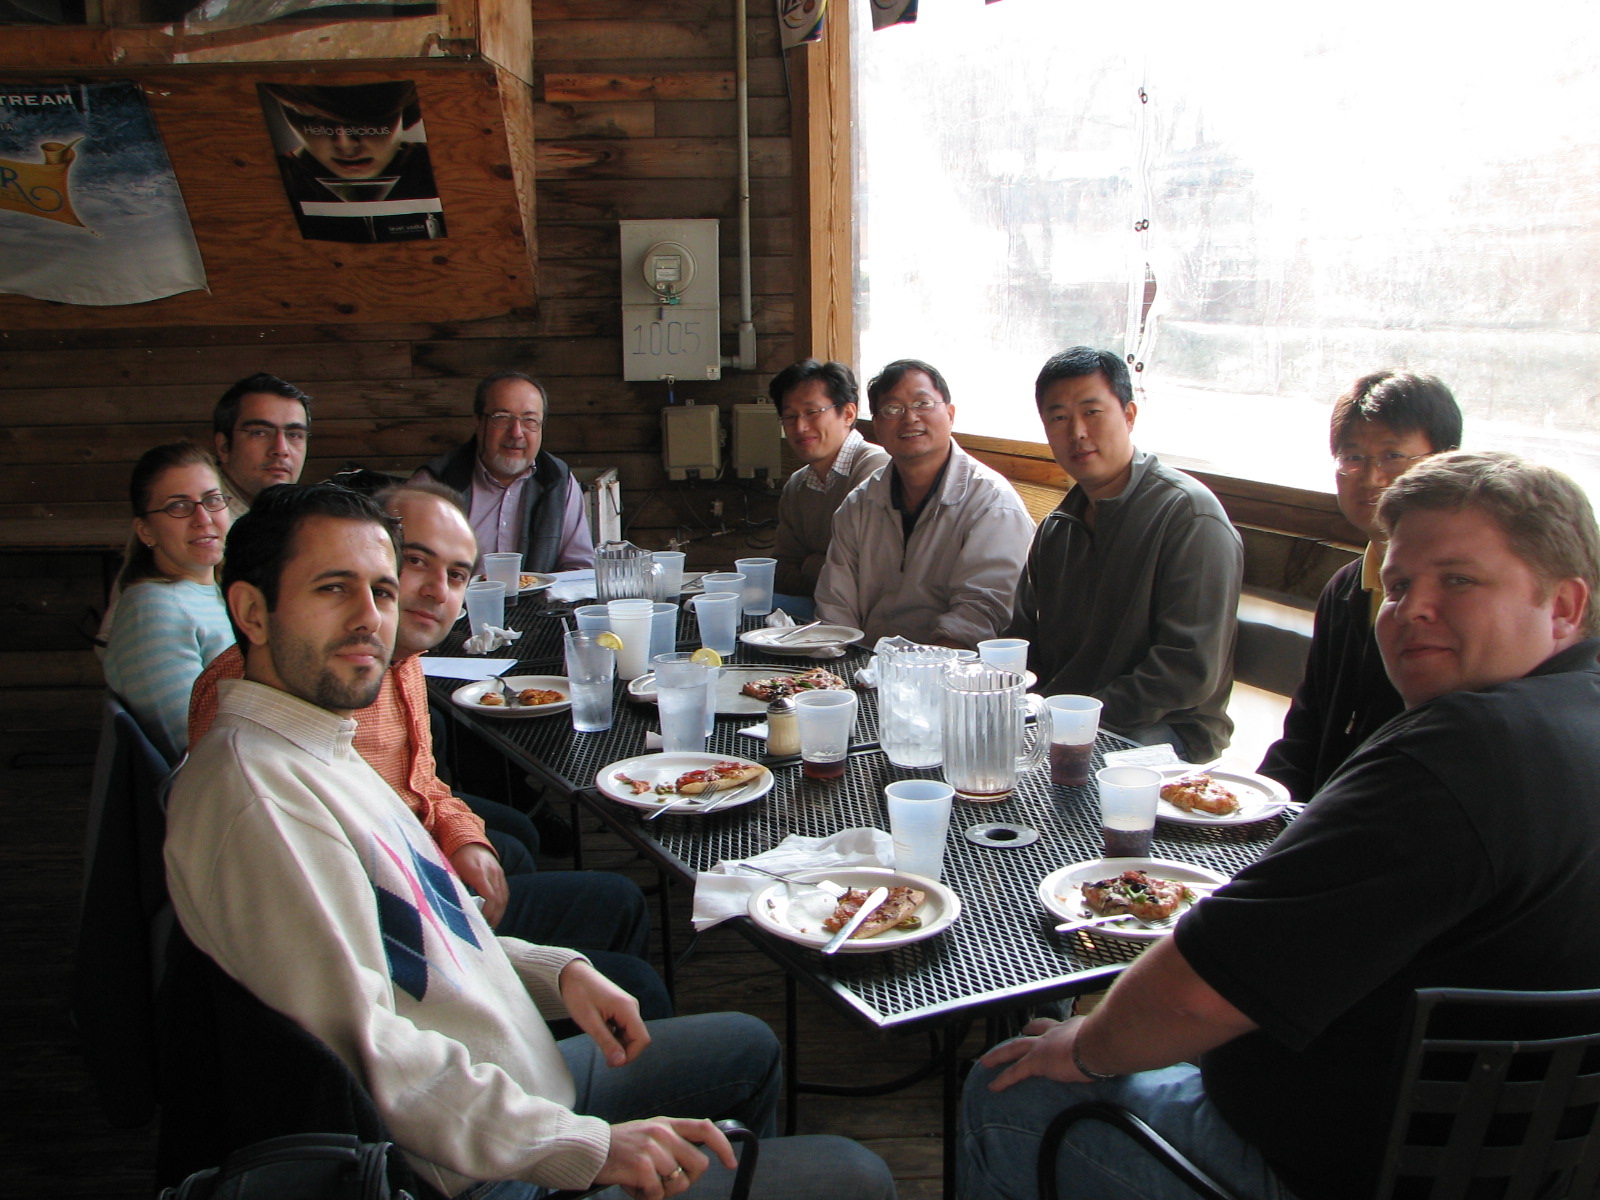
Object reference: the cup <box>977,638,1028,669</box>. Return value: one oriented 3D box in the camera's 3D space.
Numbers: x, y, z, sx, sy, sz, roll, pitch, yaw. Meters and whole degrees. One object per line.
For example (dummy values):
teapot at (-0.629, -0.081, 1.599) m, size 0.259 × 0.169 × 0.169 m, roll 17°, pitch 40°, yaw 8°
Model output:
cup at (0.417, 0.110, 2.393) m, size 0.091 × 0.048 × 0.066 m, roll 2°, pitch -1°, yaw -12°

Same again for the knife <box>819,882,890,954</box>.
knife at (0.081, 0.455, 1.654) m, size 0.036 × 0.010 × 0.242 m, roll 10°, pitch 16°, yaw 21°

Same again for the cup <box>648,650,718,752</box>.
cup at (-0.220, 0.204, 2.413) m, size 0.190 × 0.203 × 0.200 m, roll 0°, pitch 2°, yaw 0°

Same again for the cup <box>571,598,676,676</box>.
cup at (-0.424, 0.085, 2.879) m, size 0.240 × 0.140 × 0.196 m, roll -3°, pitch 8°, yaw -25°

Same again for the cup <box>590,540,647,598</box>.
cup at (-0.539, -0.082, 3.400) m, size 0.187 × 0.140 × 0.140 m, roll 2°, pitch -2°, yaw -20°

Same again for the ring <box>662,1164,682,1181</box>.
ring at (-0.162, 0.729, 1.481) m, size 0.025 × 0.005 × 0.023 m, roll -1°, pitch 5°, yaw 0°

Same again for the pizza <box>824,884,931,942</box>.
pizza at (0.122, 0.450, 1.692) m, size 0.065 × 0.019 × 0.107 m, roll -1°, pitch 8°, yaw 33°

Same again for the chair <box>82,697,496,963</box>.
chair at (-1.022, 0.414, 2.165) m, size 0.461 × 0.409 × 0.368 m, roll 0°, pitch 5°, yaw -39°

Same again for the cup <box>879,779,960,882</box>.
cup at (0.190, 0.354, 1.834) m, size 0.163 × 0.139 × 0.146 m, roll 3°, pitch 2°, yaw 23°
